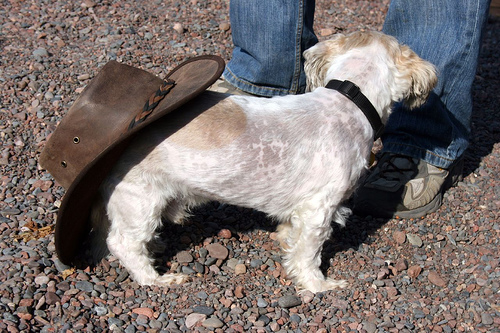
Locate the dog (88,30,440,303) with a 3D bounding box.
[{"bbox_3d":[0.130,-0.034,3.656,1.405,1.011,2.490,36,64,21],"label":"dog"}]

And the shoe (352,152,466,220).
[{"bbox_3d":[1.341,0.148,4.217,0.931,0.415,0.470,-24,35,-16],"label":"shoe"}]
